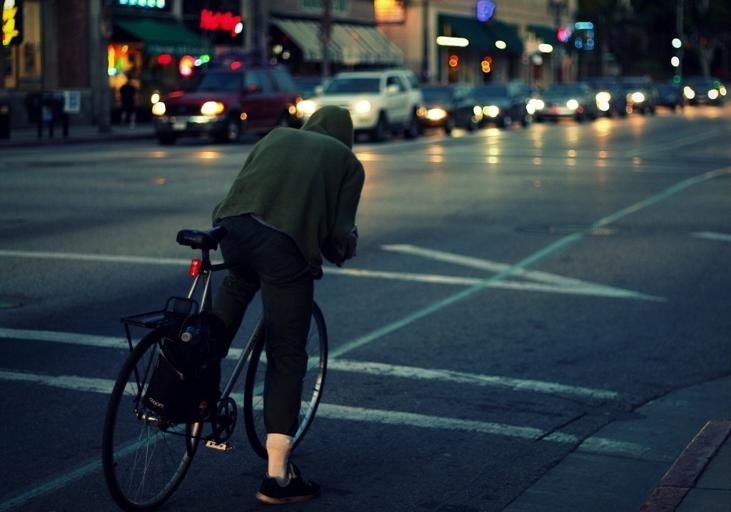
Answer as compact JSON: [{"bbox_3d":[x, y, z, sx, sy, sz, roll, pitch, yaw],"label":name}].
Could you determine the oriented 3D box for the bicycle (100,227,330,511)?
[{"bbox_3d":[-1.227,0.637,6.477,0.951,1.464,2.066,7,15,27],"label":"bicycle"}]

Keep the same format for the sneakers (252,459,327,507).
[{"bbox_3d":[-0.471,1.355,5.960,0.444,0.222,0.165,-4,11,-38],"label":"sneakers"}]
